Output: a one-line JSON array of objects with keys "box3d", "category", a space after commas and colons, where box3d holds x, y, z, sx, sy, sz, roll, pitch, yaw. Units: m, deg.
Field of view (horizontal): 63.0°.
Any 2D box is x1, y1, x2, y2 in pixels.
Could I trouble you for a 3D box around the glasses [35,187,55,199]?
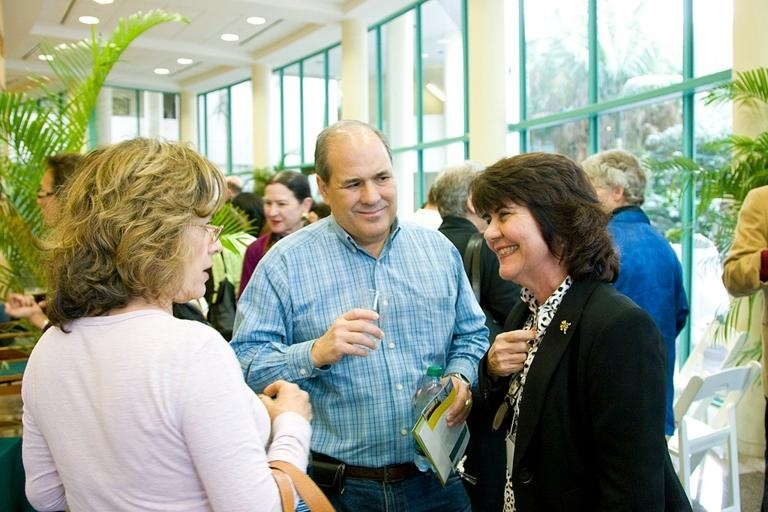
[{"box3d": [-1.797, -0.329, 3.328, 0.094, 0.079, 0.088, 1, 6, 42], "category": "glasses"}]
